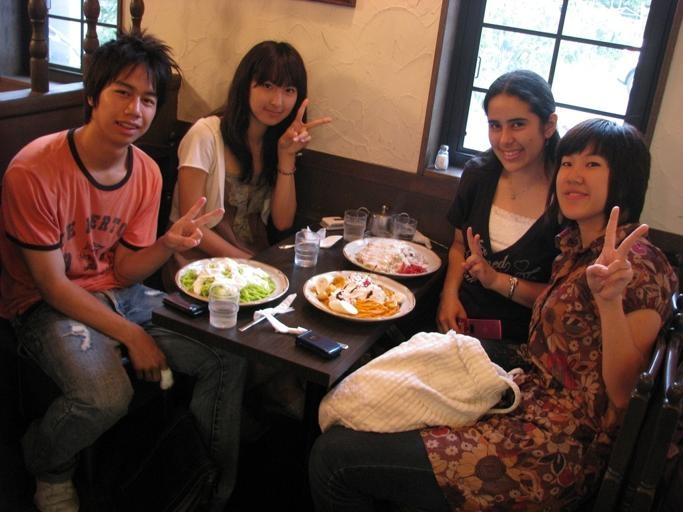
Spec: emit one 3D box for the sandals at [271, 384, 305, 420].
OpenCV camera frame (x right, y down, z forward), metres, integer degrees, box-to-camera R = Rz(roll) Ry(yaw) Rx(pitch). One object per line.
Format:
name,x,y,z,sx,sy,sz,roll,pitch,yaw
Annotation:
sandals,-0.221,0.592,2.168,0.146,0.150,0.045,3,4,32

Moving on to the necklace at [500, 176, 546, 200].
necklace,0.765,-0.291,2.270,0.142,0.109,0.042,7,12,21

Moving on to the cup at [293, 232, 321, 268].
cup,-0.151,-0.007,2.222,0.134,0.156,0.135,4,28,-2

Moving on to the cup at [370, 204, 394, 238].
cup,0.193,-0.167,2.624,0.175,0.174,0.105,4,16,9

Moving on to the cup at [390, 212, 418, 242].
cup,0.299,-0.137,2.581,0.127,0.125,0.114,-6,22,-7

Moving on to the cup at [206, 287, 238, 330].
cup,-0.394,0.158,1.720,0.106,0.125,0.112,5,19,-2

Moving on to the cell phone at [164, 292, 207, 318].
cell phone,-0.526,0.167,1.768,0.148,0.032,0.072,17,23,27

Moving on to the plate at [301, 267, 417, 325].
plate,0.083,0.150,1.905,0.235,0.079,0.237,-7,33,-37

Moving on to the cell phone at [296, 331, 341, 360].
cell phone,-0.071,0.272,1.649,0.108,0.030,0.074,25,34,30

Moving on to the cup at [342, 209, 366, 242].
cup,0.061,-0.140,2.480,0.093,0.131,0.149,9,12,15

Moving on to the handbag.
handbag,0.227,0.408,1.597,0.482,0.229,0.299,-10,8,-6
